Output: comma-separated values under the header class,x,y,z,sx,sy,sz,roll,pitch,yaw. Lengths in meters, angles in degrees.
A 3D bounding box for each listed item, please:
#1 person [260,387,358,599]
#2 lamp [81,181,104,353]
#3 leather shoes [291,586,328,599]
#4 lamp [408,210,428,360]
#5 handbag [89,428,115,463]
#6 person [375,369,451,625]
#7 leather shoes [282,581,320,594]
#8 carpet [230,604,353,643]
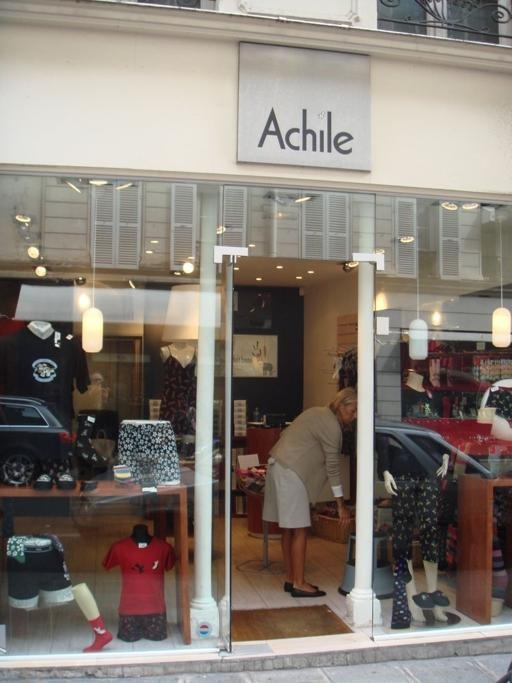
class,x,y,z,sx,sy,sz,roll,pitch,yaw
person,0.355,0.994,4.433,0.621,1.341,0.379,0,0,3
lamp,-0.854,-0.374,3.501,0.112,0.876,0.071,0,0,-16
leather shoes,0.350,1.626,4.315,0.223,0.081,0.076,-2,-6,-3
lamp,0.951,-0.196,3.926,0.127,0.623,0.061,0,0,-21
handbag,-0.796,0.535,3.441,0.168,0.213,0.070,0,8,-2
person,0.935,1.068,3.830,0.441,1.054,0.204,0,0,-18
leather shoes,0.303,1.622,4.462,0.230,0.090,0.083,-1,0,-15
carpet,0.172,1.619,3.836,0.675,0.051,0.538,0,0,-11
